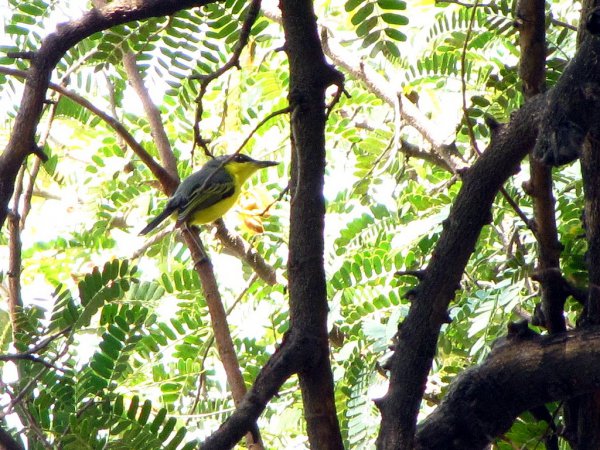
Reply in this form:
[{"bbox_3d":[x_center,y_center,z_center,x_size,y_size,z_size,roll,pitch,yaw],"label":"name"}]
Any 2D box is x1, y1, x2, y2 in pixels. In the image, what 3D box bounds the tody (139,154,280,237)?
[{"bbox_3d":[-0.644,-0.188,6.512,1.015,0.424,0.325,-13,2,-23],"label":"tody"}]
